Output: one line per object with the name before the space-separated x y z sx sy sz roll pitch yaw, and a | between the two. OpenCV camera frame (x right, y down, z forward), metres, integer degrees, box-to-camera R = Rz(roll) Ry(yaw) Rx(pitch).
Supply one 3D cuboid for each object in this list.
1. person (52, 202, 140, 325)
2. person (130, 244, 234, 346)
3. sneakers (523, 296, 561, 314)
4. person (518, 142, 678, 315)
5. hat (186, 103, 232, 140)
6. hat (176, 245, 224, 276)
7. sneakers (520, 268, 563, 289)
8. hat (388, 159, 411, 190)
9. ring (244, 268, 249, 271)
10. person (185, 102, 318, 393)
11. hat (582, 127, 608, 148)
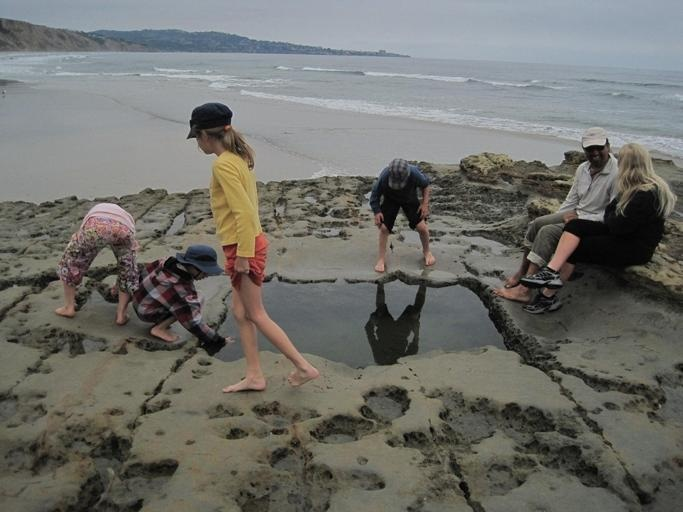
person | -2.575 0.126 5.041 0.893 1.257 0.592 -7 34 -14
person | -1.661 0.458 5.048 0.612 0.666 0.960 4 32 -40
sneakers | 2.320 0.537 5.448 0.515 0.195 0.167 -3 11 4
person | 2.725 -0.359 4.862 1.185 1.404 0.576 -8 35 -17
hat | -1.017 -1.046 3.734 0.326 0.281 0.293 -7 32 -14
hat | -1.358 0.051 4.638 0.436 0.164 0.309 17 16 5
sneakers | 2.145 0.233 4.972 0.531 0.224 0.169 3 -13 3
hat | 0.773 -1.049 6.165 0.286 0.381 0.230 5 33 4
ring | -0.715 0.106 3.677 0.024 0.019 0.020 -1 38 -2
person | -0.892 -0.048 4.096 0.913 2.302 1.336 1 1 -41
hat | 2.729 -1.245 5.083 0.223 0.141 0.309 -3 10 29
